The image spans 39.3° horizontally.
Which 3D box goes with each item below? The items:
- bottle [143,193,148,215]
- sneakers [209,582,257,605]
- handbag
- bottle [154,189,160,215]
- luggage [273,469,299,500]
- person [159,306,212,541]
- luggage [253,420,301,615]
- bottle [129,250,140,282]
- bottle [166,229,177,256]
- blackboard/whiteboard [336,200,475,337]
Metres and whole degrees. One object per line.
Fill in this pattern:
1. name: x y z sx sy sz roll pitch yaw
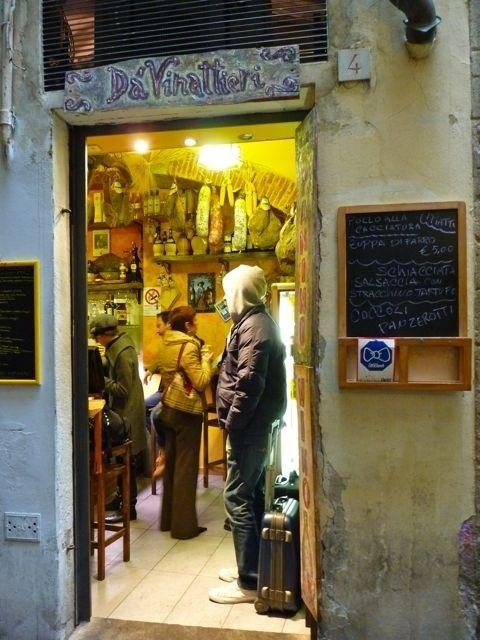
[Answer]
1. bottle: -0.805 -0.973 5.736 0.037 0.180 0.081 0 2 -25
2. sneakers: -0.038 1.429 3.493 0.172 0.076 0.101 6 -9 6
3. handbag: -0.380 0.309 4.444 0.254 0.562 0.398 -6 25 -21
4. bottle: -0.712 -0.992 5.695 0.059 0.207 0.050 0 2 -17
5. luggage: 0.256 0.899 3.661 0.114 0.052 0.123 2 6 13
6. person: -0.366 0.674 4.471 0.348 1.487 0.456 0 2 -6
7. luggage: 0.211 1.020 3.550 0.225 0.859 0.618 0 2 5
8. bottle: -1.006 -0.522 6.426 0.108 0.322 0.170 0 2 -9
9. bottle: -0.603 -0.668 5.850 0.102 0.236 0.266 0 2 -7
10. blackboard/whiteboard: 0.721 -0.207 2.833 0.515 0.653 0.031 0 -1 10
